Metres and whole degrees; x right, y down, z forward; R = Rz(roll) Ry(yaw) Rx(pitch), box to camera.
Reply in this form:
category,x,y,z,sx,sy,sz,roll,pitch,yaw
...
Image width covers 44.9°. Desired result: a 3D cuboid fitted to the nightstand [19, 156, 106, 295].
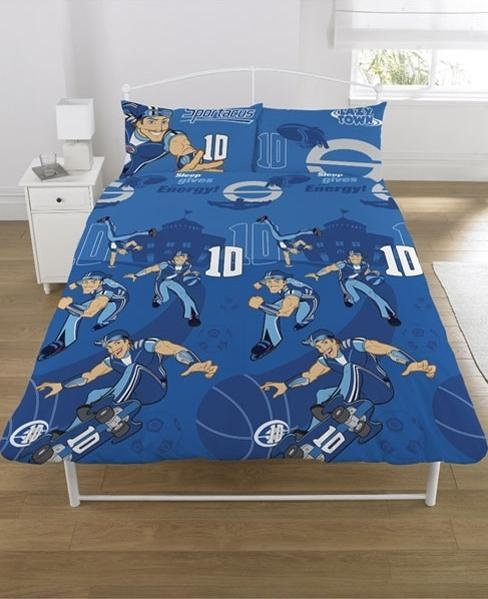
category,x,y,z,sx,sy,sz,roll,pitch,yaw
nightstand,-0.860,-0.346,3.185,0.574,0.560,0.504,-7,15,-15

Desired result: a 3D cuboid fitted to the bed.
category,x,y,z,sx,sy,sz,roll,pitch,yaw
bed,0.077,-0.016,2.468,1.583,0.668,1.619,2,49,3
